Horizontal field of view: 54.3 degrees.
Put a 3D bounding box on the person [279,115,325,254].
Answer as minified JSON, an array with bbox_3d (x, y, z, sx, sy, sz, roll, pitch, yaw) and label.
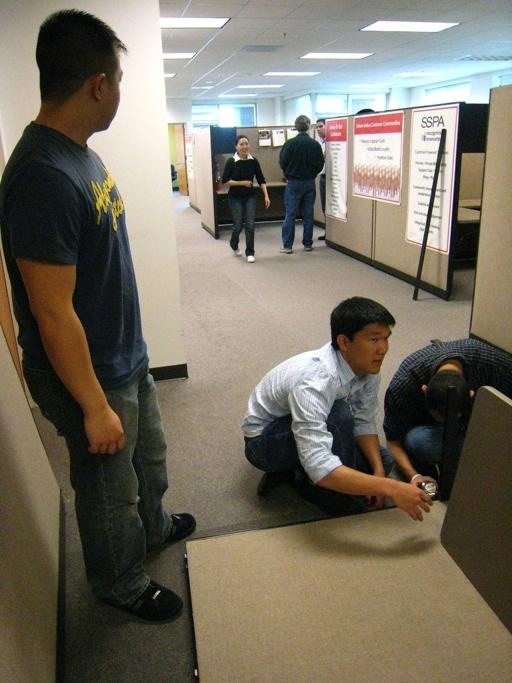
[{"bbox_3d":[0.532,-1.861,5.996,0.506,1.561,0.447,9,19,29],"label":"person"}]

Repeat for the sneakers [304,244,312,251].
[{"bbox_3d":[0.639,-1.151,6.155,0.065,0.069,0.157,-1,9,3],"label":"sneakers"}]

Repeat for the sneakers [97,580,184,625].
[{"bbox_3d":[-0.283,0.675,1.301,0.233,0.102,0.089,13,54,-20],"label":"sneakers"}]

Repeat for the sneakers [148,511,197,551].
[{"bbox_3d":[-0.252,0.602,1.589,0.167,0.074,0.063,-26,37,-34],"label":"sneakers"}]

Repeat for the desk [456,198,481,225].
[{"bbox_3d":[1.968,-1.183,4.646,0.180,0.206,1.023,6,19,21],"label":"desk"}]

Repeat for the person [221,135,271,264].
[{"bbox_3d":[-0.136,-1.714,5.960,0.524,1.390,0.978,-1,17,2],"label":"person"}]
